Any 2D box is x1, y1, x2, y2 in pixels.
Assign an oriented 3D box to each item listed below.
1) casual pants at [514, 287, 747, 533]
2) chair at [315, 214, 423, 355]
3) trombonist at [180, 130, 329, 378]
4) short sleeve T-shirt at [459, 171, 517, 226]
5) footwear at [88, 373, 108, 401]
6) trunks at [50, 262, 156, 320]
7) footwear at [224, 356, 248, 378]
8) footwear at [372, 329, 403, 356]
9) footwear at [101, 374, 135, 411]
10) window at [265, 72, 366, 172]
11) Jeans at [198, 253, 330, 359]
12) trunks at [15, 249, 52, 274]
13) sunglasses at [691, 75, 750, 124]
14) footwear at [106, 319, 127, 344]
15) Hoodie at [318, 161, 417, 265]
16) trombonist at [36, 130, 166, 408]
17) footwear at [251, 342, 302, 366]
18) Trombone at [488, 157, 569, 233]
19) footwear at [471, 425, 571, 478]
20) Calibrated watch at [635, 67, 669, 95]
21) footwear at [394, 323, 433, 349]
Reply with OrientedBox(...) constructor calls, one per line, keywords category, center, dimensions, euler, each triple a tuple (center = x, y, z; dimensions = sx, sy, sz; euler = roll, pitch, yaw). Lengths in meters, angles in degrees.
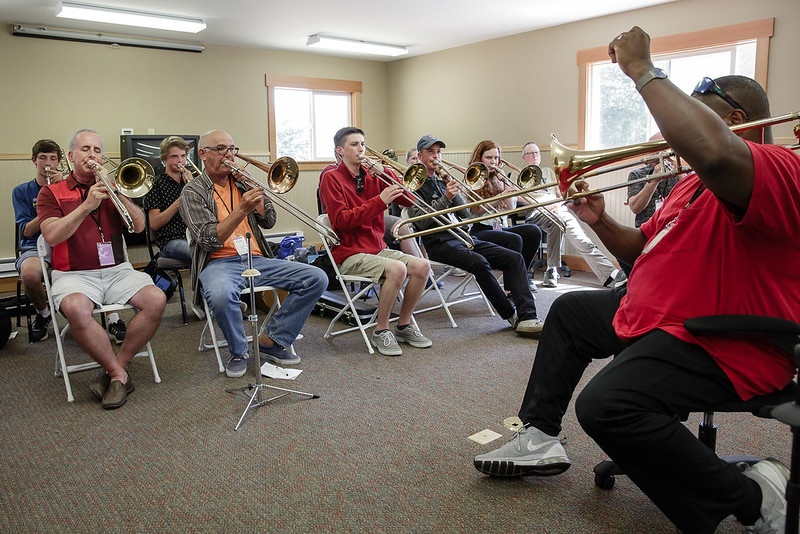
OrientedBox(category="casual pants", center=(0.822, 0.545, 2.251), dimensions=(0.843, 0.786, 0.677), euler=(-19, -1, 15))
OrientedBox(category="chair", center=(-0.139, 0.037, 3.972), dimensions=(0.599, 1.072, 0.812), euler=(-9, 15, -41))
OrientedBox(category="trombonist", center=(-0.991, -0.120, 3.572), dimensions=(0.987, 1.651, 0.954), euler=(3, 13, 10))
OrientedBox(category="short sleeve T-shirt", center=(0.840, -0.653, 4.851), dimensions=(0.682, 0.292, 0.452), euler=(10, -12, 9))
OrientedBox(category="footwear", center=(-1.853, 0.739, 3.264), dimensions=(0.103, 0.124, 0.282), euler=(-1, 7, -20))
OrientedBox(category="trunks", center=(-1.840, 0.106, 3.285), dimensions=(0.373, 0.162, 0.370), euler=(-6, 9, -41))
OrientedBox(category="footwear", center=(-1.054, 0.656, 3.423), dimensions=(0.138, 0.120, 0.097), euler=(-6, 15, -12))
OrientedBox(category="footwear", center=(-0.091, 0.547, 3.738), dimensions=(0.106, 0.117, 0.270), euler=(-4, 7, -32))
OrientedBox(category="footwear", center=(-1.676, 0.747, 3.157), dimensions=(0.135, 0.133, 0.313), euler=(3, 13, -7))
OrientedBox(category="window", center=(-1.337, -2.290, 8.351), dimensions=(1.651, 1.460, 0.147), euler=(-12, 23, -36))
OrientedBox(category="Jeans", center=(-0.955, 0.240, 3.582), dimensions=(0.623, 0.523, 0.749), euler=(0, -1, -33))
OrientedBox(category="trunks", center=(-2.581, -0.048, 3.754), dimensions=(0.194, 0.078, 0.151), euler=(14, 32, -6))
OrientedBox(category="sunglasses", center=(1.142, -0.617, 1.916), dimensions=(0.153, 0.046, 0.153), euler=(35, 10, 0))
OrientedBox(category="footwear", center=(-2.110, 0.493, 3.956), dimensions=(0.147, 0.173, 0.377), euler=(-2, 4, -37))
OrientedBox(category="Hoodie", center=(-0.340, -0.356, 4.131), dimensions=(0.693, 0.885, 0.700), euler=(-9, -2, 31))
OrientedBox(category="trombonist", center=(-1.820, -0.045, 3.254), dimensions=(0.593, 1.621, 0.794), euler=(-13, 17, -32))
OrientedBox(category="footwear", center=(-0.803, 0.599, 3.607), dimensions=(0.346, 0.163, 0.130), euler=(15, 3, -5))
OrientedBox(category="Trombone", center=(1.333, -0.788, 5.126), dimensions=(0.306, 0.309, 0.941), euler=(22, 17, 39))
OrientedBox(category="footwear", center=(0.535, 0.837, 2.395), dimensions=(0.473, 0.247, 0.197), euler=(-1, -36, 8))
OrientedBox(category="Calibrated watch", center=(0.814, -0.620, 1.712), dimensions=(0.078, 0.045, 0.079), euler=(-33, -27, 0))
OrientedBox(category="footwear", center=(0.089, 0.520, 3.945), dimensions=(0.293, 0.140, 0.134), euler=(9, 4, 14))
